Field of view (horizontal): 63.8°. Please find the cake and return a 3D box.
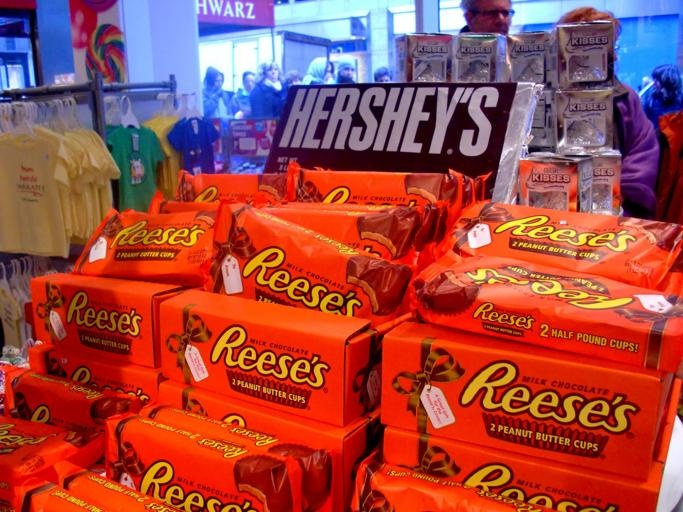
[{"bbox_3d":[0.092,0.200,1.859,1.688,0.735,0.396,6,-5,26],"label":"cake"}]
